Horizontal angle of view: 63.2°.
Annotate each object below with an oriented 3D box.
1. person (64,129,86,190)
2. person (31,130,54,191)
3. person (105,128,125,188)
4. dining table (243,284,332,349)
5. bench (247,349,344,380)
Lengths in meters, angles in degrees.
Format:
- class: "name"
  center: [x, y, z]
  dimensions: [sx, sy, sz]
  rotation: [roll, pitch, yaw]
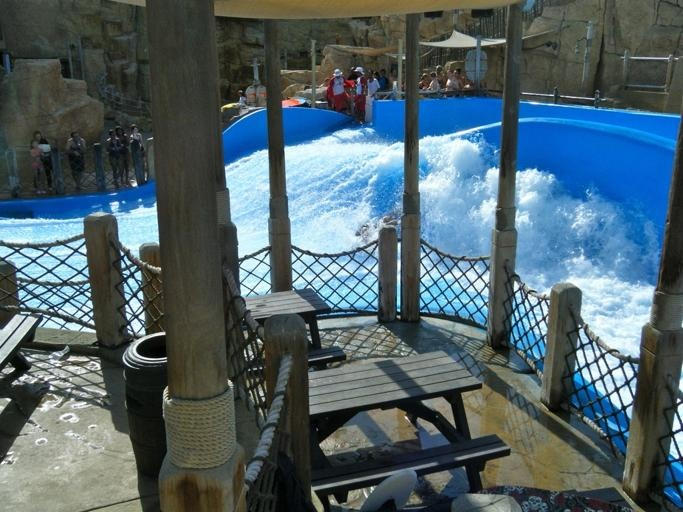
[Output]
- class: "person"
  center: [-6.937, -2.482, 14.626]
  dimensions: [0.460, 1.483, 0.676]
  rotation: [-10, 18, -25]
- class: "person"
  center: [-7.671, -2.385, 14.267]
  dimensions: [0.498, 1.511, 0.992]
  rotation: [-11, 19, -28]
- class: "person"
  center: [-6.156, -2.684, 15.219]
  dimensions: [0.414, 1.563, 0.731]
  rotation: [-8, 17, -21]
- class: "dining table"
  center: [-0.451, 0.585, 4.775]
  dimensions: [0.694, 0.441, 0.630]
  rotation: [-6, 17, -12]
- class: "bench"
  center: [-0.254, 0.619, 3.127]
  dimensions: [0.474, 0.127, 0.216]
  rotation: [-6, 55, -7]
